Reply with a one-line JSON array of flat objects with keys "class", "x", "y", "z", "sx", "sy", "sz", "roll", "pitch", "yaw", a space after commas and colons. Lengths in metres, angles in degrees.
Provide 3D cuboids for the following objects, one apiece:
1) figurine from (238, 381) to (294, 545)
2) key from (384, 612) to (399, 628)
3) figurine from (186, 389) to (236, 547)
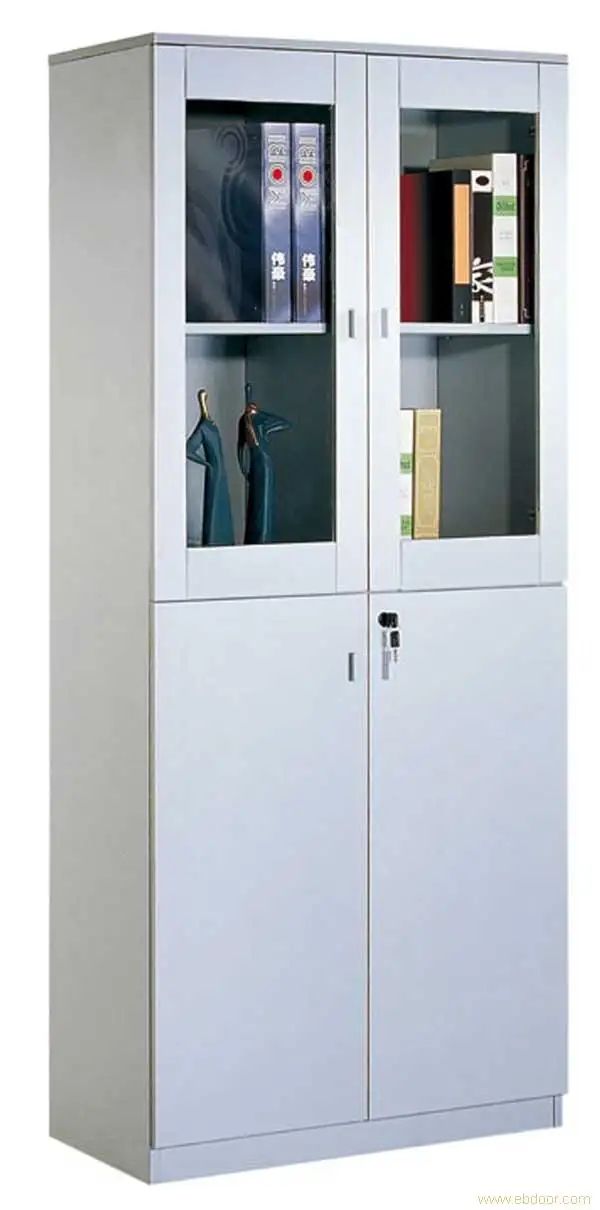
[{"class": "figurine", "x": -0.073, "y": -0.263, "z": 2.123, "sx": 0.090, "sy": 0.336, "sz": 0.069, "roll": -1, "pitch": -16, "yaw": -3}, {"class": "key", "x": 0.175, "y": 0.029, "z": 2.048, "sx": 0.020, "sy": 0.050, "sz": 0.028, "roll": 0, "pitch": 1, "yaw": 28}, {"class": "figurine", "x": -0.170, "y": -0.258, "z": 2.042, "sx": 0.082, "sy": 0.286, "sz": 0.228, "roll": 0, "pitch": 5, "yaw": -4}]
